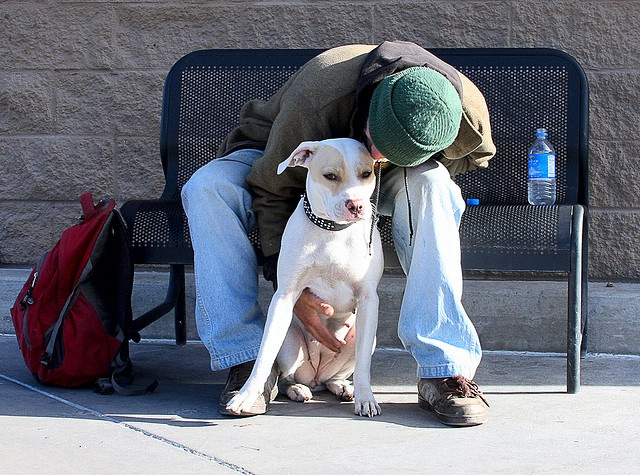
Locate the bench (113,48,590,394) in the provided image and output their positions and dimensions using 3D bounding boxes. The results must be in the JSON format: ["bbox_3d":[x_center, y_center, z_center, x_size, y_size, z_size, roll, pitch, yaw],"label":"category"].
[{"bbox_3d":[0.220,-0.073,4.433,2.130,1.216,0.766,1,8,5],"label":"bench"}]

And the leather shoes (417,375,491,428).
[{"bbox_3d":[0.574,0.710,4.053,0.199,0.188,0.454,1,4,-21],"label":"leather shoes"}]

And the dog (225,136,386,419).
[{"bbox_3d":[-0.029,0.179,4.087,0.630,1.241,0.497,1,12,2],"label":"dog"}]

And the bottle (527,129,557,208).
[{"bbox_3d":[1.192,-0.373,4.803,0.155,0.395,0.279,3,12,12],"label":"bottle"}]

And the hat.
[{"bbox_3d":[0.390,-0.510,3.953,0.386,0.415,0.247,34,6,-2],"label":"hat"}]
